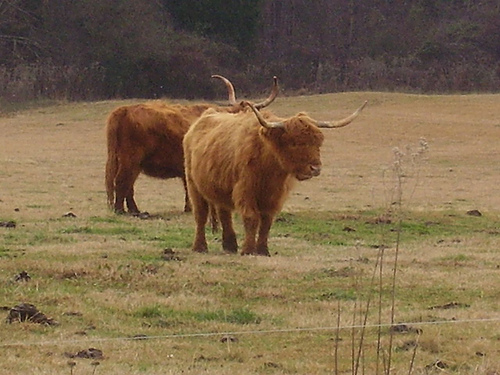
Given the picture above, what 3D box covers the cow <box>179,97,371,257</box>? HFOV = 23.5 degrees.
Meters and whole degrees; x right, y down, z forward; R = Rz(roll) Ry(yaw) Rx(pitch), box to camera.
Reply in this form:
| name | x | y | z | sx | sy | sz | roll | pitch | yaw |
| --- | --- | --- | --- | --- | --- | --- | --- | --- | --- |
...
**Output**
| name | x | y | z | sx | sy | sz | roll | pitch | yaw |
| --- | --- | --- | --- | --- | --- | --- | --- | --- | --- |
| cow | -0.060 | -0.404 | 43.793 | 4.736 | 5.562 | 1.832 | 3 | 13 | 7 |
